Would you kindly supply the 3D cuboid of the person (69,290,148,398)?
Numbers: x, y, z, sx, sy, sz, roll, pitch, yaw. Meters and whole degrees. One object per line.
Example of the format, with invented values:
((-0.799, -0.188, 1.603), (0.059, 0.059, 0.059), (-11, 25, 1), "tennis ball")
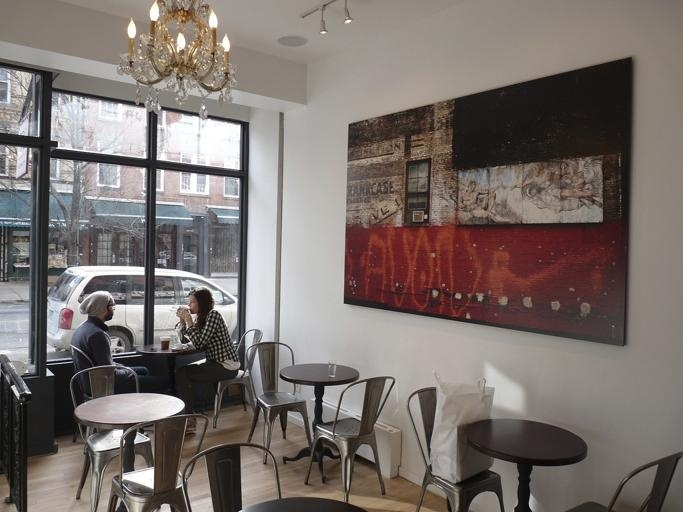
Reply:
((-2.276, 1.011, 5.132), (0.683, 1.347, 0.559), (-1, -3, -39), "person")

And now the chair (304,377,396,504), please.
((0.152, 1.491, 4.517), (0.776, 1.033, 0.849), (1, 2, 44), "chair")

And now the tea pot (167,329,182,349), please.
((-1.906, 0.953, 5.900), (0.162, 0.148, 0.183), (0, -3, 5), "tea pot")

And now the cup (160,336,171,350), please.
((-1.867, 0.944, 5.484), (0.100, 0.121, 0.110), (-1, -5, 0), "cup")

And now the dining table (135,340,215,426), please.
((-1.813, 1.391, 5.681), (0.677, 0.818, 0.687), (-1, -2, 2), "dining table")

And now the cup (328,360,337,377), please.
((-0.068, 1.019, 4.619), (0.090, 0.153, 0.094), (0, -7, 0), "cup")

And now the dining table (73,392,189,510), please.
((-1.606, 1.349, 3.900), (0.630, 0.738, 0.630), (-1, 9, -33), "dining table")
